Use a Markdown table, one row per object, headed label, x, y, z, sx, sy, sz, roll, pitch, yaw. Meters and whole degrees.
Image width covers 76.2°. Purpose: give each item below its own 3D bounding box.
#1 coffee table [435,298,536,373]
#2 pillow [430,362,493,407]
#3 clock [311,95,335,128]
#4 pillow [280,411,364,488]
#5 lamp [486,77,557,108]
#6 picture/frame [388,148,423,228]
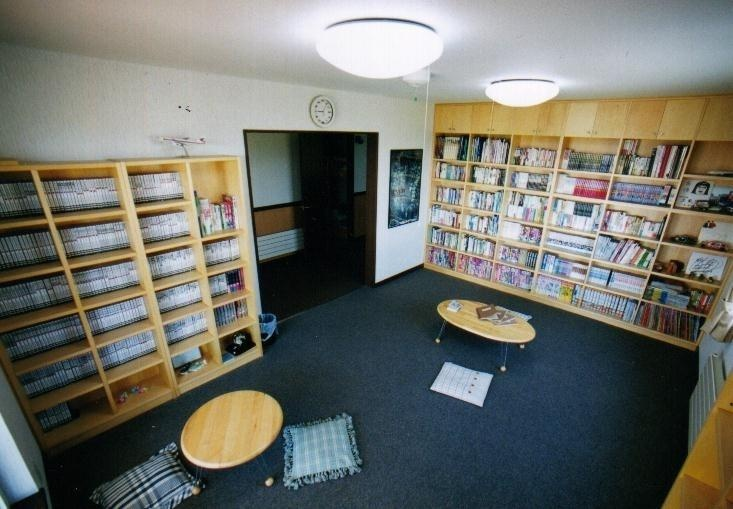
| label | x | y | z | sx | sy | sz | roll | pitch | yaw |
| --- | --- | --- | --- | --- | --- | --- | --- | --- | --- |
| coffee table | 1.443 | 0.964 | 5.776 | 1.173 | 0.544 | 0.687 | 10 | 22 | 26 |
| pillow | 1.083 | 1.448 | 5.248 | 0.437 | 0.075 | 0.420 | 17 | 41 | 25 |
| clock | -0.554 | -1.770 | 5.768 | 0.043 | 0.383 | 0.383 | 18 | 26 | 39 |
| pillow | -0.440 | 1.892 | 4.539 | 0.551 | 0.135 | 0.528 | -1 | 33 | -1 |
| lamp | 1.561 | -1.636 | 4.749 | 0.671 | 0.236 | 0.342 | 5 | 20 | 12 |
| picture/frame | 0.600 | -1.031 | 7.204 | 0.026 | 1.175 | 0.829 | 17 | 25 | 39 |
